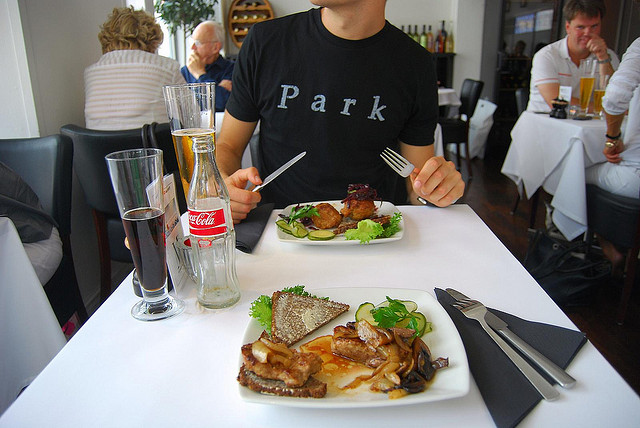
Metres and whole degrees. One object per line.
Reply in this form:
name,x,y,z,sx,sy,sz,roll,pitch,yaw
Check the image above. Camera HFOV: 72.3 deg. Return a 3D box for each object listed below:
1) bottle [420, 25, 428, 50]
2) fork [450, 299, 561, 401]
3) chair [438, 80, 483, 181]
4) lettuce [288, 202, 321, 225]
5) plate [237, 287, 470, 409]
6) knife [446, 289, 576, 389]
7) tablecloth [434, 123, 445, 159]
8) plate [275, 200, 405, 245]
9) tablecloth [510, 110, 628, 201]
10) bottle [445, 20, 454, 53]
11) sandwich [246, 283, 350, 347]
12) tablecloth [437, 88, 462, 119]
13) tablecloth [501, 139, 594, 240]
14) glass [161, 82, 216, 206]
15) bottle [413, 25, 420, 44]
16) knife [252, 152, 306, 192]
bottle,1.659,-2.842,6.993,0.120,0.318,0.296,2,22,11
fork,0.445,0.311,1.063,0.053,0.016,0.327,-24,43,-12
chair,1.653,-1.119,5.629,0.588,1.107,0.579,-1,23,1
lettuce,-0.063,-0.004,1.516,0.069,0.029,0.071,-13,23,-28
plate,0.081,0.302,1.058,0.501,0.099,0.331,-3,23,-1
knife,0.450,0.252,1.116,0.059,0.022,0.435,-10,31,-22
tablecloth,1.330,-0.827,4.857,0.079,0.330,0.652,4,24,15
plate,0.049,0.052,1.429,0.272,0.042,0.220,1,35,5
tablecloth,1.854,-0.477,3.277,0.575,0.475,0.617,-13,32,-10
bottle,2.029,-2.779,6.847,0.134,0.442,0.407,3,23,13
sandwich,-0.071,0.253,1.124,0.219,0.037,0.180,-30,41,-27
tablecloth,1.752,-1.471,5.894,0.299,0.426,0.789,3,24,14
tablecloth,1.788,-0.195,3.259,0.682,0.825,0.732,-2,10,17
glass,-0.431,-0.193,1.512,0.163,0.517,0.161,-11,29,-30
bottle,1.540,-2.898,7.009,0.098,0.228,0.257,0,22,7
knife,-0.173,-0.189,1.979,0.036,0.314,0.047,26,36,-43
